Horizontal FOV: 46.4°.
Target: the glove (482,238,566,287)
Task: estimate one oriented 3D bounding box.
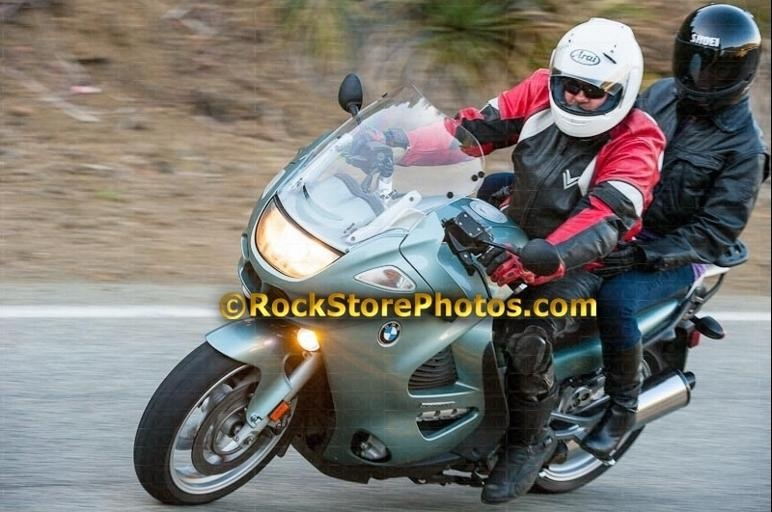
[{"bbox_3d":[0.503,0.016,3.170,0.242,0.198,0.097,-6,40,29],"label":"glove"}]

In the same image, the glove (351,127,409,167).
[{"bbox_3d":[-0.021,-0.410,3.357,0.163,0.184,0.067,-1,88,-19],"label":"glove"}]

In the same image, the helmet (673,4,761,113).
[{"bbox_3d":[1.306,-0.794,3.527,0.281,0.308,0.330,29,66,35],"label":"helmet"}]

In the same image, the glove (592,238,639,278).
[{"bbox_3d":[0.926,0.013,3.547,0.239,0.073,0.102,-20,88,-10],"label":"glove"}]
